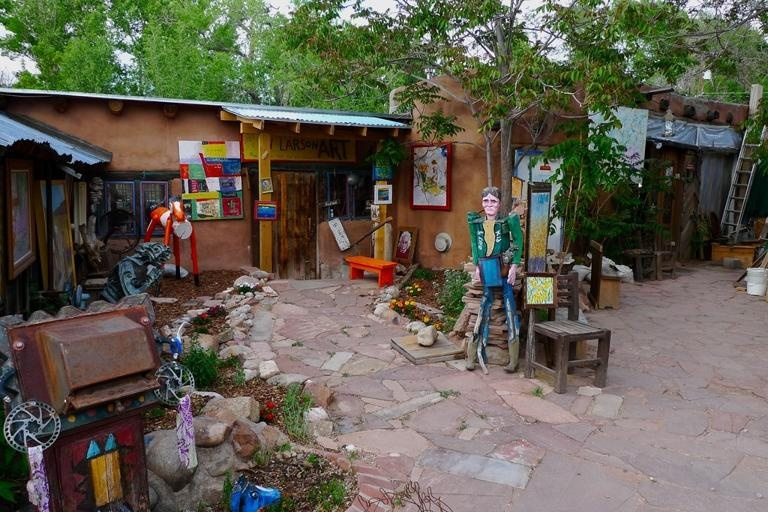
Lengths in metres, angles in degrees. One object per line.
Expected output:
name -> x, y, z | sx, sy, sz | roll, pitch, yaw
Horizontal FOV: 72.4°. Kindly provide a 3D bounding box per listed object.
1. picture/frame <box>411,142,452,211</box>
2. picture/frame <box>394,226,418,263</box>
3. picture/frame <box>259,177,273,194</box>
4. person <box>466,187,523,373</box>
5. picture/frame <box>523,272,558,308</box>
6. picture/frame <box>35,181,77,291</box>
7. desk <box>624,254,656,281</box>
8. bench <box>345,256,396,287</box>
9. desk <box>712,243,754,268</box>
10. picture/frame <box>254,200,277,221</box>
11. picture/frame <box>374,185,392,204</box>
picture/frame -> 1.236, -2.063, 13.595 | 0.245, 1.693, 1.270 | -11, 18, -41
picture/frame -> 0.551, -0.295, 13.982 | 0.615, 0.979, 0.366 | 12, 17, 36
picture/frame -> -2.784, -1.659, 12.293 | 0.377, 0.438, 0.072 | -3, 5, -33
person -> 1.690, 0.364, 8.060 | 0.868, 2.746, 0.737 | 3, 14, 7
picture/frame -> 2.303, 0.502, 7.675 | 0.492, 0.527, 0.056 | 0, -1, -4
picture/frame -> -5.322, -0.365, 8.443 | 0.323, 1.779, 1.683 | -5, 15, -25
desk -> 6.778, 0.219, 13.823 | 0.807, 0.766, 0.662 | -6, 16, -31
bench -> -0.236, 0.366, 12.482 | 0.627, 0.631, 1.637 | -9, 18, -38
desk -> 10.724, -0.034, 16.109 | 1.074, 0.718, 1.543 | 10, 16, 29
picture/frame -> -2.793, -1.043, 12.498 | 0.694, 0.616, 0.379 | 0, 4, -16
picture/frame -> -0.043, -1.465, 13.137 | 0.552, 0.572, 0.416 | 0, 0, -14
